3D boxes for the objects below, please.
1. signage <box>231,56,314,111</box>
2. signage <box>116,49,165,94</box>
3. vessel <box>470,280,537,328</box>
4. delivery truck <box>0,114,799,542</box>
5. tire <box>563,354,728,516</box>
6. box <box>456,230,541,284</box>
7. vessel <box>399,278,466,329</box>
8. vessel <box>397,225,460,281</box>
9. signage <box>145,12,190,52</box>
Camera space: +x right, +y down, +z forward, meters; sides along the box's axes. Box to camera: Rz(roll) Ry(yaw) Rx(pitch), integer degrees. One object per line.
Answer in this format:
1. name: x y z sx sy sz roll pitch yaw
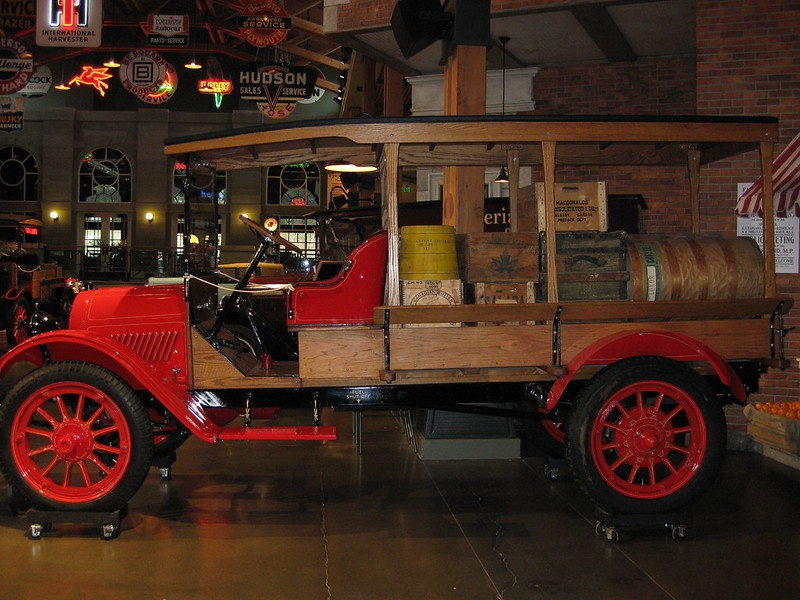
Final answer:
1. signage: -2.834 -5.022 18.186 1.796 0.935 0.818 -1 14 -7
2. signage: -7.245 -6.428 22.140 1.490 1.189 0.547 9 17 34
3. vessel: 0.859 0.108 6.535 0.662 0.404 0.344 -1 -8 0
4. delivery truck: 0.024 0.086 8.058 7.139 3.295 3.356 1 -1 1
5. tire: 1.980 1.080 6.358 1.634 1.361 0.483 -1 -4 -3
6. box: 0.845 -0.350 6.558 0.530 0.270 0.484 0 1 -4
7. vessel: 0.260 0.031 6.351 0.459 0.239 0.420 1 -4 -1
8. vessel: 0.229 -0.383 6.528 0.532 0.343 0.488 -1 0 4
9. signage: -5.504 -6.373 18.518 0.904 0.688 1.046 -4 14 -16
